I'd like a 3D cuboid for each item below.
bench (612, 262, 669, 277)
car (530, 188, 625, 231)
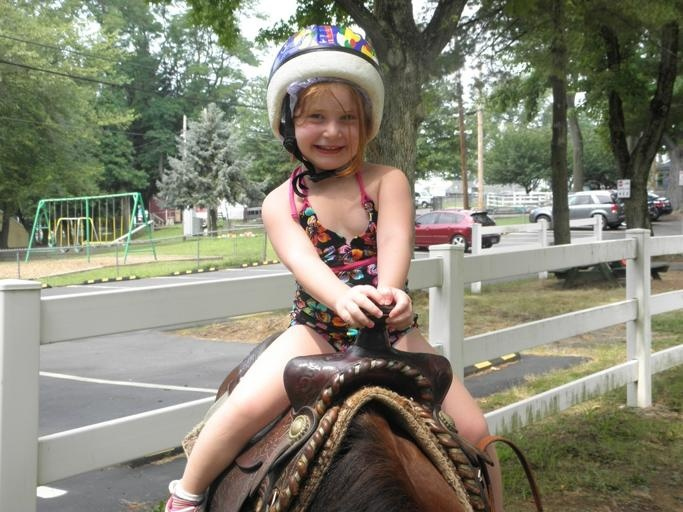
[{"bbox_3d":[5.586,0.259,11.696,0.955,0.353,1.456,-7,-3,26],"label":"bench"},{"bbox_3d":[10.590,-1.963,25.808,2.030,1.757,1.364,-6,-3,27],"label":"car"}]
